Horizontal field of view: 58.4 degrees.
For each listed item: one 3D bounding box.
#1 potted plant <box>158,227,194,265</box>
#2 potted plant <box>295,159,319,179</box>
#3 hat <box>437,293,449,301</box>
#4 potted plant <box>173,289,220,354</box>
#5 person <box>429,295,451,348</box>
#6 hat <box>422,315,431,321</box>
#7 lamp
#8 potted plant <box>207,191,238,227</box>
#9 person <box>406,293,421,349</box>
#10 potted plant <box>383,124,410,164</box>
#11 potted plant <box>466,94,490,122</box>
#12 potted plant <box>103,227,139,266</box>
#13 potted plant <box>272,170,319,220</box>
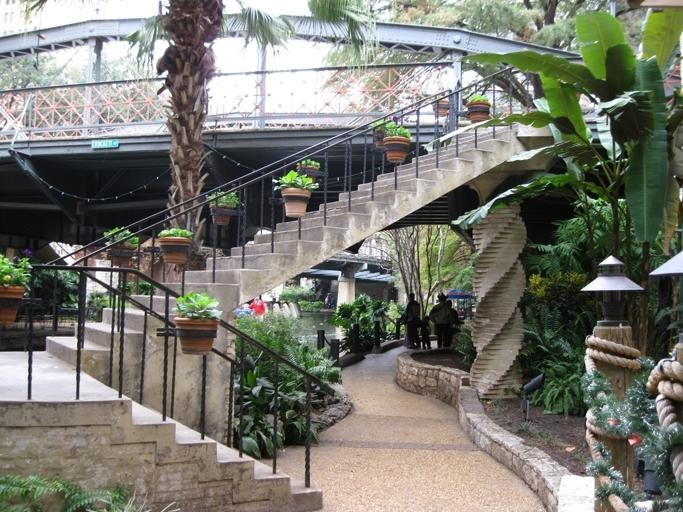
[{"bbox_3d":[-2.133,-0.127,7.855,0.392,0.426,0.379,3,1,-44],"label":"potted plant"},{"bbox_3d":[-0.476,-1.287,8.938,0.302,0.245,0.324,0,-4,-1],"label":"potted plant"},{"bbox_3d":[2.670,1.111,15.945,0.225,0.187,0.217,-2,3,-10],"label":"hat"},{"bbox_3d":[-1.486,0.724,6.365,0.495,0.611,0.507,2,-4,-24],"label":"potted plant"},{"bbox_3d":[2.669,1.709,16.154,0.523,1.148,1.076,1,0,5],"label":"person"},{"bbox_3d":[2.378,1.772,17.089,0.199,0.123,0.212,-3,3,13],"label":"hat"},{"bbox_3d":[2.265,0.302,5.116,0.472,0.590,0.495,3,-4,-23],"label":"lamp"},{"bbox_3d":[-1.909,-0.739,9.814,0.403,0.490,0.409,0,2,-36],"label":"potted plant"},{"bbox_3d":[1.933,1.762,16.312,0.396,1.156,1.119,1,0,7],"label":"person"},{"bbox_3d":[0.892,-1.788,9.887,0.419,0.545,0.429,2,-2,19],"label":"potted plant"},{"bbox_3d":[2.422,-2.574,10.791,0.396,0.423,0.383,1,0,13],"label":"potted plant"},{"bbox_3d":[-3.184,-0.053,8.871,0.438,0.499,0.446,-4,-2,36],"label":"potted plant"},{"bbox_3d":[-0.557,-0.810,8.186,0.508,0.471,0.512,-9,4,8],"label":"potted plant"}]
